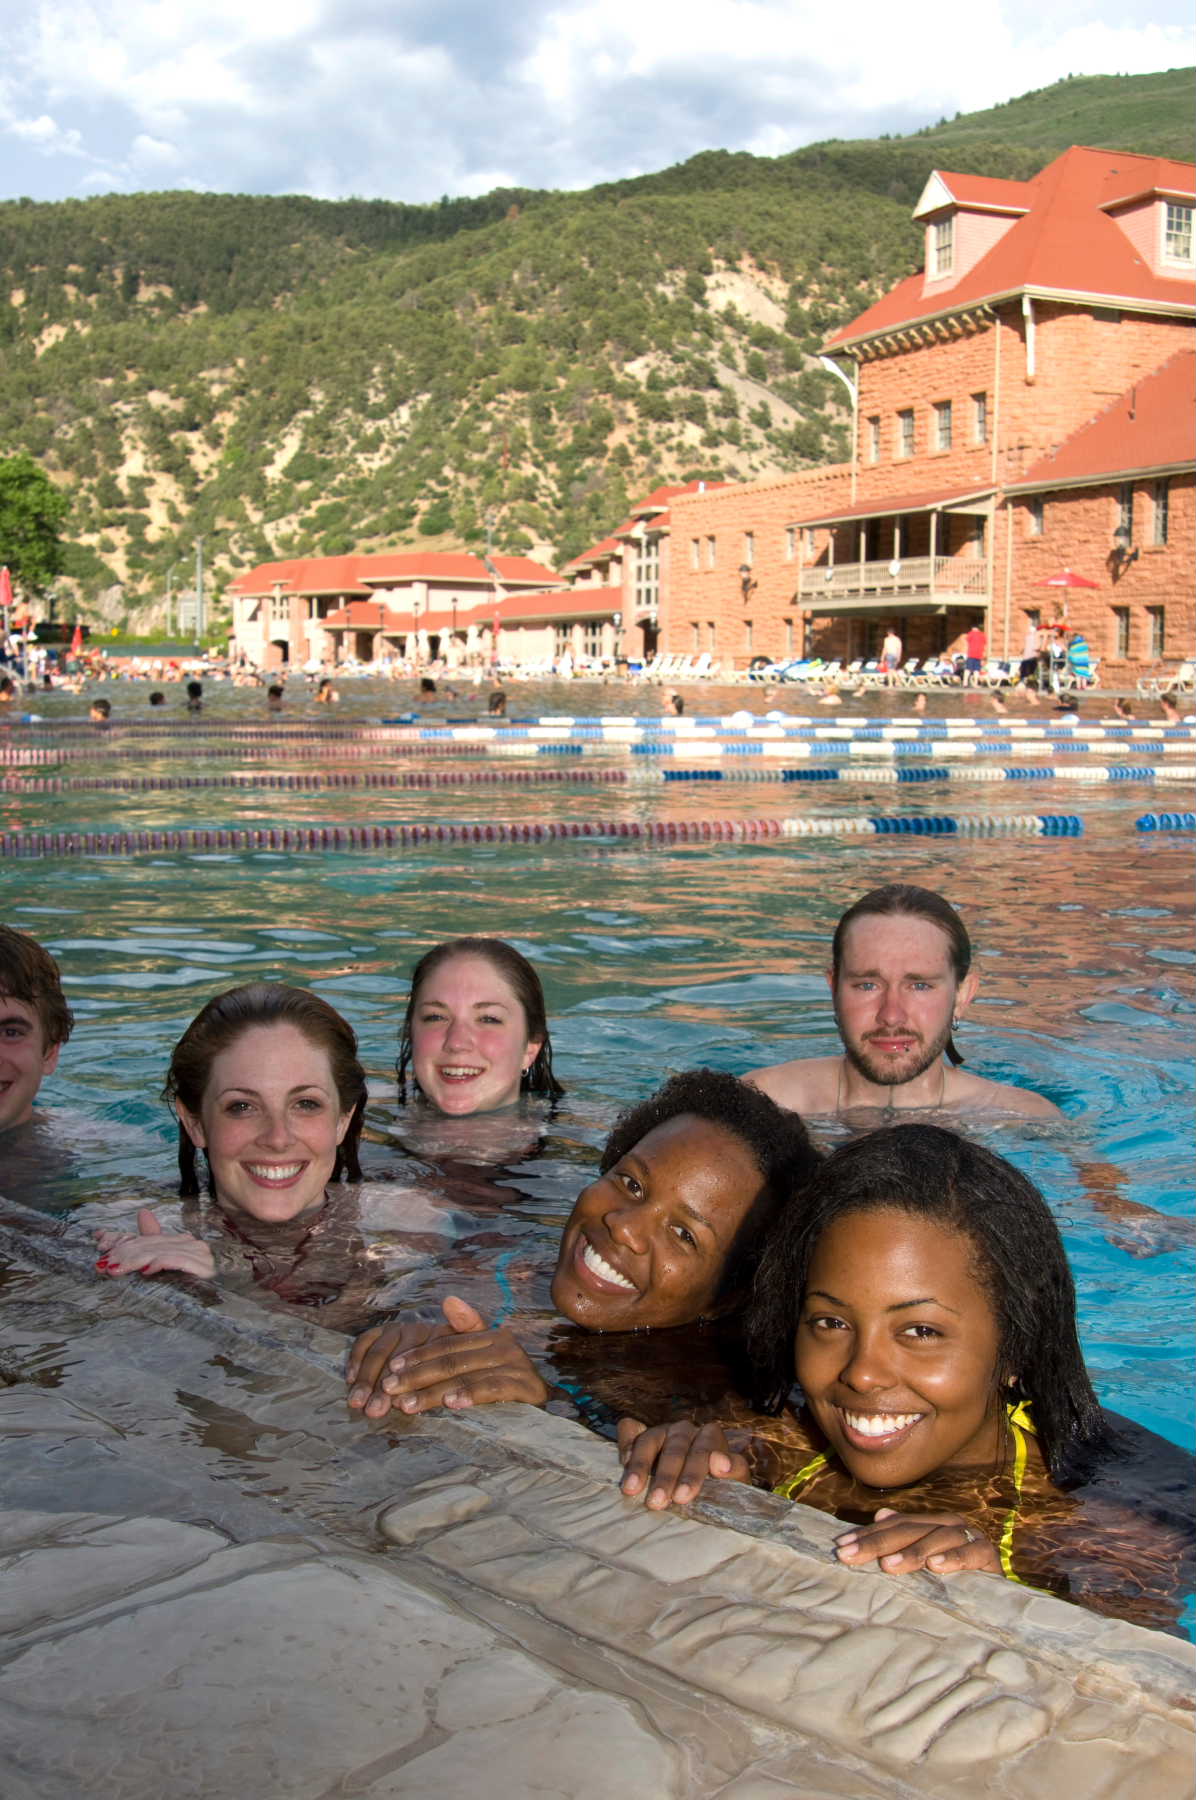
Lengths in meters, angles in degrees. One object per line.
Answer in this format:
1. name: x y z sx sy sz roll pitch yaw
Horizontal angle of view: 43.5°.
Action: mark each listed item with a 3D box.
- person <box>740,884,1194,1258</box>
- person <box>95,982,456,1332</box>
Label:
1. person: 1.112 0.471 4.331 1.046 0.606 0.310 2 13 21
2. person: -0.704 0.539 3.331 0.796 0.689 0.440 -2 6 -13
